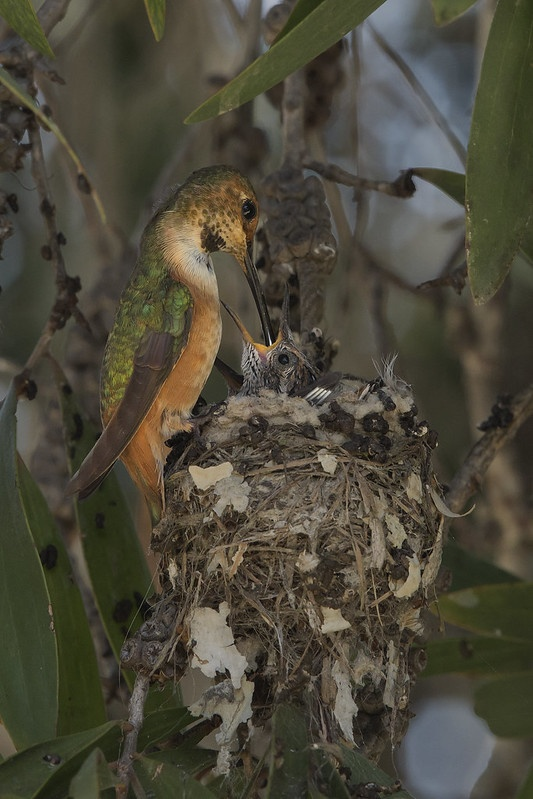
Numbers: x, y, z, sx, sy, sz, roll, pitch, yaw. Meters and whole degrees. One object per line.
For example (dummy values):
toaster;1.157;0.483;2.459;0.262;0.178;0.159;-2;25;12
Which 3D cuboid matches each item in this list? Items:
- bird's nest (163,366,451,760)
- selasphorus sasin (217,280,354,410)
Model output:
bird's nest;0.135;0.376;2.008;0.637;0.883;0.316;-12;30;-2
selasphorus sasin;0.030;-0.089;2.345;0.341;0.137;0.303;6;76;-16
